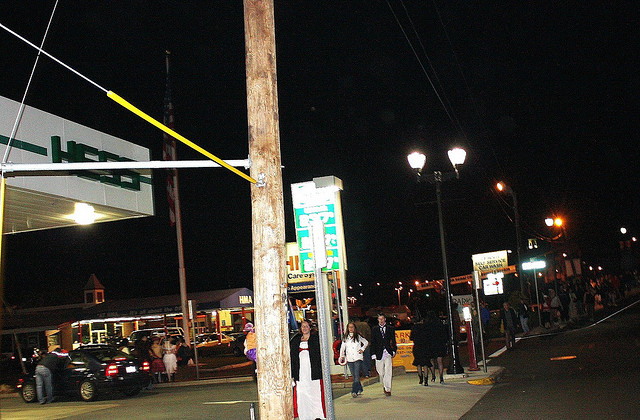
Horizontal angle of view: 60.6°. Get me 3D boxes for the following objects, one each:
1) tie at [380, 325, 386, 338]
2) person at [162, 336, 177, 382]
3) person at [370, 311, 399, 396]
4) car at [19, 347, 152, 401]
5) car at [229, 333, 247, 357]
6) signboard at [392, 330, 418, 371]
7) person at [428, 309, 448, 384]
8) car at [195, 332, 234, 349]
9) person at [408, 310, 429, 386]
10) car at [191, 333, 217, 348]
[{"bbox_3d":[2.099,4.145,18.543,0.144,0.393,0.008,3,-9,-3],"label":"tie"},{"bbox_3d":[-7.719,7.677,28.177,0.602,2.249,0.700,-2,-13,-18],"label":"person"},{"bbox_3d":[2.151,4.806,18.364,0.837,2.583,0.881,-3,-13,-11],"label":"person"},{"bbox_3d":[-9.996,6.758,23.446,4.938,1.824,2.168,-4,-10,19],"label":"car"},{"bbox_3d":[-5.817,9.674,38.806,0.990,1.479,5.751,-4,-14,-10],"label":"car"},{"bbox_3d":[3.949,6.033,23.594,0.964,1.695,1.736,11,-17,-33],"label":"signboard"},{"bbox_3d":[4.199,4.916,19.680,0.731,2.537,0.901,-8,-13,10],"label":"person"},{"bbox_3d":[-9.018,10.784,45.451,3.029,1.596,1.853,2,-12,-9],"label":"car"},{"bbox_3d":[3.591,5.041,19.610,0.661,2.354,0.964,-8,-13,8],"label":"person"},{"bbox_3d":[-9.287,10.385,43.653,0.990,0.950,1.717,-12,-17,42],"label":"car"}]
